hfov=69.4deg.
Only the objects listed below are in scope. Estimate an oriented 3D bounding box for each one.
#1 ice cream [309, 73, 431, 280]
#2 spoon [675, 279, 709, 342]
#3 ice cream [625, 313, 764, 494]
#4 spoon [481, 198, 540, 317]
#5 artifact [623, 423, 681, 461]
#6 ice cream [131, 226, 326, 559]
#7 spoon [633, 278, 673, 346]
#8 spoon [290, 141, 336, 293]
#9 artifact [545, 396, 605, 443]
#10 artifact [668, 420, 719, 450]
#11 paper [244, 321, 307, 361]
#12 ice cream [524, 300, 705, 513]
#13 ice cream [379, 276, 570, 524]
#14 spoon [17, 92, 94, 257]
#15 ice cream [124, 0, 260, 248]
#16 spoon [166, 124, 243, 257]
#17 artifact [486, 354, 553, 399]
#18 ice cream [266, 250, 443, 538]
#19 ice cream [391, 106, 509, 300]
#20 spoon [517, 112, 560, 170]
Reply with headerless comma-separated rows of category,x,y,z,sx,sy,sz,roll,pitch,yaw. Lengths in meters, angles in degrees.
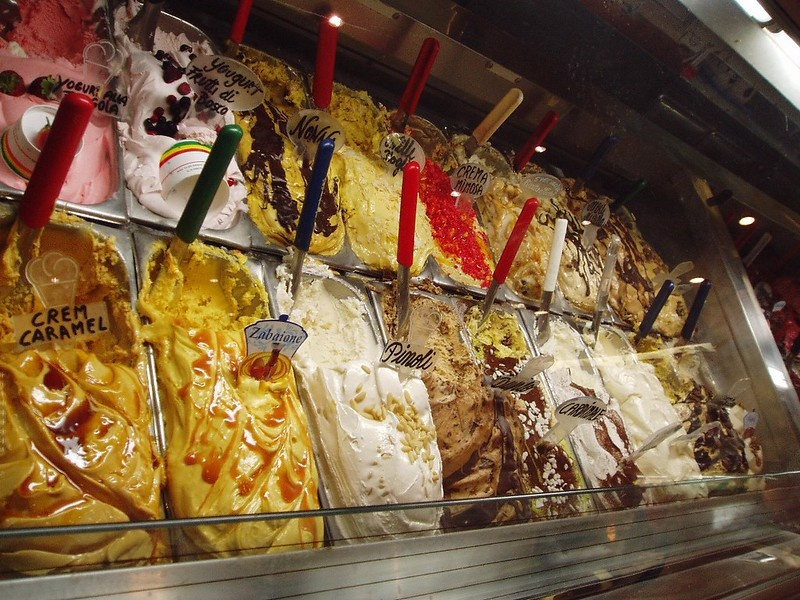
ice cream,-0.169,-0.512,2.654,0.460,0.206,0.923,6,60,-36
spoon,1.589,0.061,3.145,0.056,0.353,0.055,-1,28,-38
ice cream,1.323,0.502,2.755,0.538,0.197,0.681,0,54,-43
spoon,0.523,-0.181,2.719,0.073,0.717,0.094,28,37,2
artifact,0.995,0.550,2.270,0.283,0.123,0.052,-6,43,-46
ice cream,-0.499,0.203,1.691,0.449,0.328,0.977,-1,64,-31
spoon,1.332,0.073,3.055,0.053,0.398,0.054,2,35,-25
spoon,-0.330,-0.293,2.164,0.076,0.725,0.080,18,34,-4
artifact,0.633,0.430,2.123,0.109,0.330,0.025,14,55,-14
artifact,1.220,0.566,2.416,0.048,0.179,0.047,-14,64,-54
paper,-0.381,0.121,1.735,0.165,0.175,0.009,9,46,-30
ice cream,0.902,0.449,2.510,0.481,0.177,0.740,2,53,-26
ice cream,0.227,0.309,2.211,0.492,0.204,0.914,-1,57,-33
spoon,-0.982,-0.341,1.645,0.077,0.724,0.080,1,43,-42
ice cream,-0.801,-0.813,2.122,0.496,0.219,1.116,8,59,-33
spoon,-0.649,-0.345,1.905,0.092,0.724,0.095,32,41,-12
artifact,0.448,0.283,2.146,0.121,0.237,0.039,39,1,-27
ice cream,-0.211,0.267,2.060,0.384,0.361,1.025,-2,60,-31
ice cream,0.158,-0.419,2.921,0.447,0.186,0.944,-6,69,-43
spoon,0.703,-0.833,3.049,0.101,0.376,0.089,-17,68,-29
